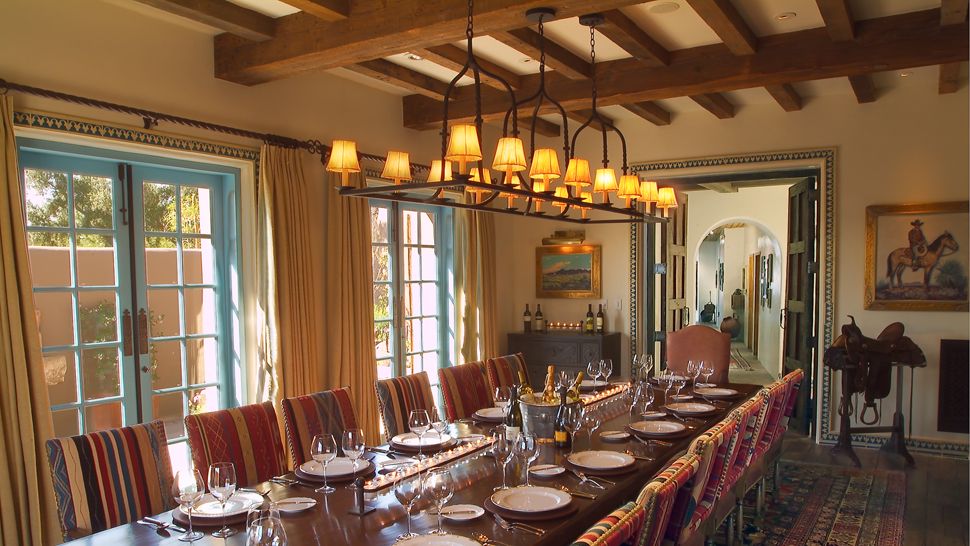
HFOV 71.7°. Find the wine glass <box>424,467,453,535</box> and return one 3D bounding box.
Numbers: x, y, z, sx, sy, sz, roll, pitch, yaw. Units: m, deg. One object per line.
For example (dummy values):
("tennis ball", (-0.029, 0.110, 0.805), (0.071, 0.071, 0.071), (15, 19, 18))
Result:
("wine glass", (-0.280, 1.482, 4.425), (0.164, 0.408, 0.282), (-2, 0, 16))

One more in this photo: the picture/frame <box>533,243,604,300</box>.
("picture/frame", (1.160, -0.026, 8.937), (0.813, 0.621, 0.059), (0, -3, 18))

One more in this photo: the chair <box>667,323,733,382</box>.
("chair", (2.288, 0.842, 7.271), (0.627, 0.856, 0.745), (0, -3, 26))

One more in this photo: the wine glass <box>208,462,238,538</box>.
("wine glass", (-1.747, 1.483, 4.437), (0.156, 0.513, 0.283), (-2, 0, -22))

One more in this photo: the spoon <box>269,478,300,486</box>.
("spoon", (-1.456, 1.517, 4.875), (0.214, 0.023, 0.065), (-1, -2, 39))

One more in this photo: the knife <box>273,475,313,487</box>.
("knife", (-1.387, 1.513, 4.866), (0.356, 0.017, 0.089), (2, 2, 30))
